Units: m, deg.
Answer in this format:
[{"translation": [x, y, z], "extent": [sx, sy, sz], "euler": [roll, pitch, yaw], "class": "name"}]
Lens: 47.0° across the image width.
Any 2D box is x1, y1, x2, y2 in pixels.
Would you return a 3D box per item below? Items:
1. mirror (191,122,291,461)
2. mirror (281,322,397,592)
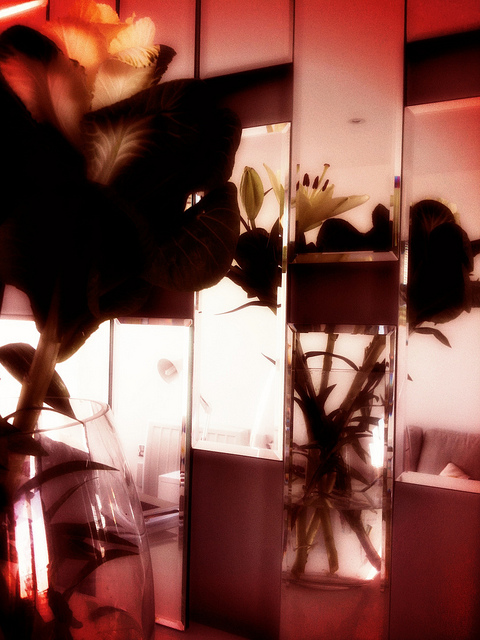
[{"translation": [0.002, -0.021, 0.999], "extent": [0.160, 0.668, 0.029], "euler": [2, 25, 5], "class": "mirror"}, {"translation": [0.167, 0.242, 0.950], "extent": [0.173, 0.637, 0.023], "euler": [1, 18, 15], "class": "mirror"}]
